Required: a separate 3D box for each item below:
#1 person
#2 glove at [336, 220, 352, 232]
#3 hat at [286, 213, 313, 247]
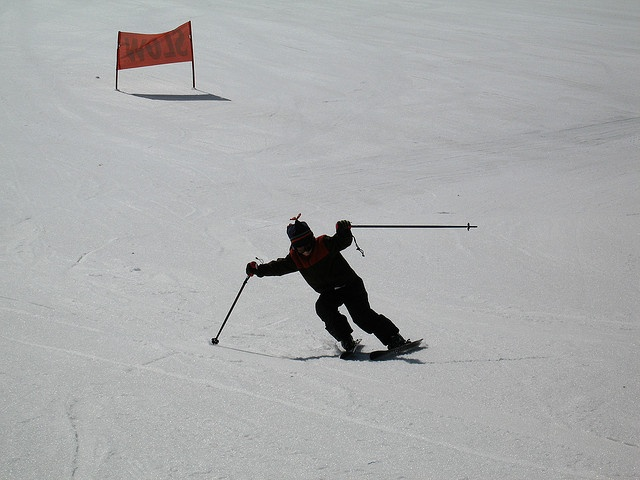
[{"bbox_3d":[0.161,0.557,9.747,1.257,1.727,0.471,-37,0,20],"label":"person"},{"bbox_3d":[0.280,-0.170,9.590,0.167,0.163,0.178,-2,37,0],"label":"glove"},{"bbox_3d":[-0.230,-0.121,9.679,0.284,0.372,0.372,-12,38,-11],"label":"hat"}]
